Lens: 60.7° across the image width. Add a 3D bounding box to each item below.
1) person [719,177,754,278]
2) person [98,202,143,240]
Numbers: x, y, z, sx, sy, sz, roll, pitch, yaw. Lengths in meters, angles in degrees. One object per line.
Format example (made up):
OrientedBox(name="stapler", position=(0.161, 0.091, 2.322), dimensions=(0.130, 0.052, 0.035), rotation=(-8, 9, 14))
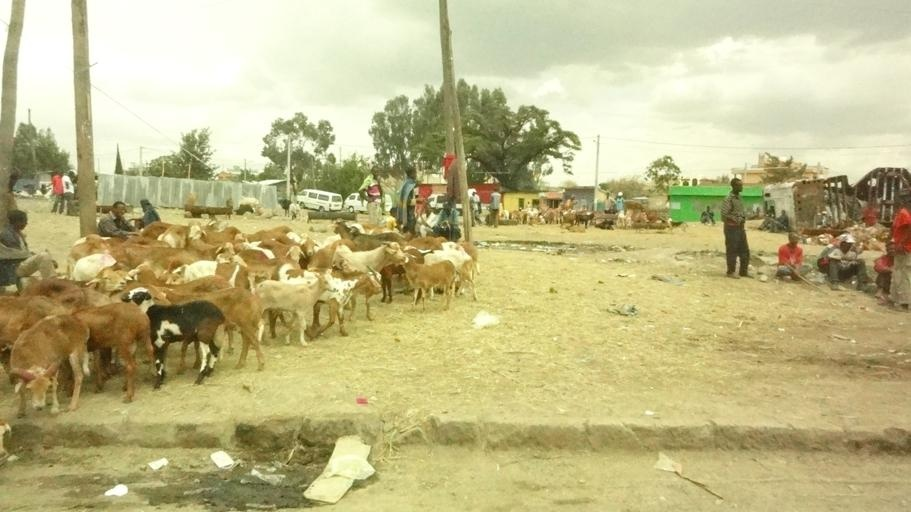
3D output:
OrientedBox(name="person", position=(7.429, -0.837, 20.611), dimensions=(0.701, 2.599, 1.409), rotation=(1, 6, 19))
OrientedBox(name="person", position=(-8.401, -0.951, 19.506), dimensions=(1.186, 0.833, 0.784), rotation=(12, 13, 18))
